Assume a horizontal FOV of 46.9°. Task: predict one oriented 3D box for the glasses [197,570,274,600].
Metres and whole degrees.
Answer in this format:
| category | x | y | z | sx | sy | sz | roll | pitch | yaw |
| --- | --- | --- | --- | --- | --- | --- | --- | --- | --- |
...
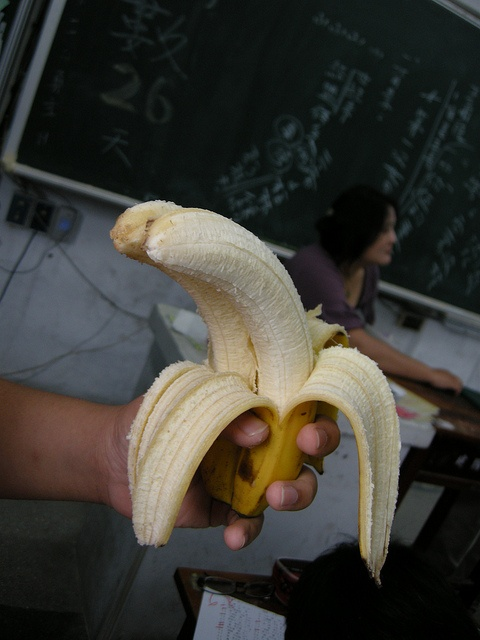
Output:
| category | x | y | z | sx | sy | sz | roll | pitch | yaw |
| --- | --- | --- | --- | --- | --- | --- | --- | --- | --- |
| glasses | -0.006 | 0.496 | 1.027 | 0.085 | 0.076 | 0.021 | 8 | 43 | -7 |
